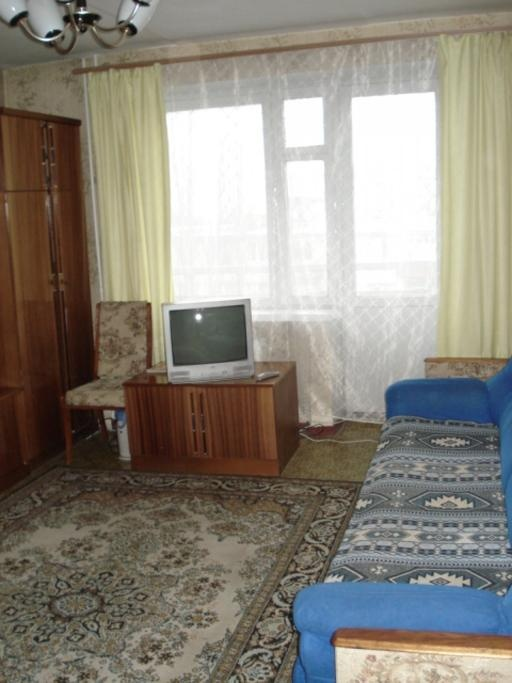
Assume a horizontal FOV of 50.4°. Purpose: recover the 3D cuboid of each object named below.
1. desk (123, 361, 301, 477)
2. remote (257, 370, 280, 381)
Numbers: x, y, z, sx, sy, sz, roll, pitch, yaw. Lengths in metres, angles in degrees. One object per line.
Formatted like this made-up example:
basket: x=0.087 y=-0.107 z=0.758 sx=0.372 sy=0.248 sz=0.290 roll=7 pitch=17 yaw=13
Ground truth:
desk: x=-0.293 y=0.558 z=3.722 sx=1.026 sy=0.585 sz=0.580 roll=-2 pitch=2 yaw=18
remote: x=0.065 y=0.218 z=3.450 sx=0.110 sy=0.030 sz=0.062 roll=-9 pitch=14 yaw=-21
